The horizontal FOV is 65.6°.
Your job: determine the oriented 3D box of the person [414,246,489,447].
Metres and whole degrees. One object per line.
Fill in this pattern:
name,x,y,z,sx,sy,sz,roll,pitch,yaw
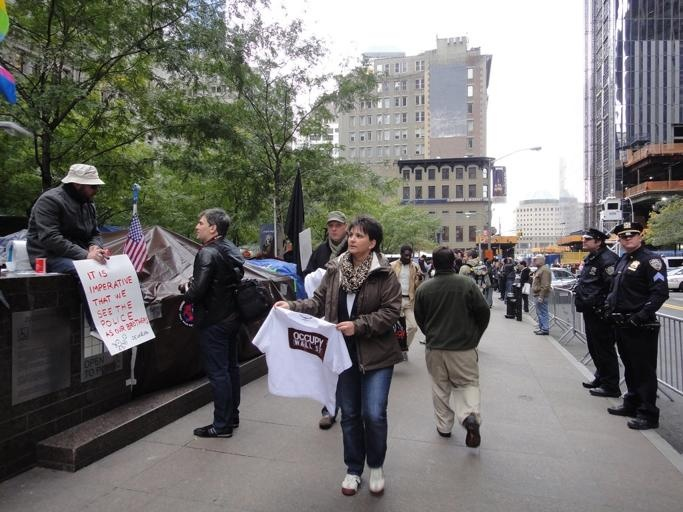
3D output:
person,1.412,1.125,6.833,0.944,2.416,0.700,4,9,17

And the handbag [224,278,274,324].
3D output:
handbag,-1.202,0.515,7.139,0.551,0.587,0.441,-19,18,-24

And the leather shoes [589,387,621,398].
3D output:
leather shoes,4.207,2.136,8.366,0.444,0.199,0.168,2,-9,23

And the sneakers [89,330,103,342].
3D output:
sneakers,-3.001,0.946,6.410,0.166,0.056,0.166,19,-19,-25

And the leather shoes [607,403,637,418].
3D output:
leather shoes,4.099,2.220,7.656,0.387,0.158,0.145,1,-5,19

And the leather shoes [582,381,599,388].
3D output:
leather shoes,4.157,2.107,8.737,0.082,0.088,0.221,7,-5,-40

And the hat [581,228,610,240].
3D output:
hat,4.249,-0.354,8.725,0.273,0.119,0.249,1,-2,8

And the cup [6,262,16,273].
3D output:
cup,-3.973,0.126,6.328,0.129,0.111,0.108,-2,1,-14

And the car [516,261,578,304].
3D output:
car,7.427,0.923,18.963,2.418,1.148,1.477,-5,7,-22

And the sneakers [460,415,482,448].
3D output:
sneakers,1.593,2.102,6.436,0.130,0.530,0.281,5,-5,-8

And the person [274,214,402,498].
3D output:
person,0.181,1.040,5.781,0.975,2.930,0.736,2,9,10

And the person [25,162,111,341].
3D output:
person,-3.400,-0.484,6.557,0.862,1.289,0.826,-8,12,-44

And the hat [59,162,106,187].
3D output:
hat,-3.278,-1.017,6.719,0.443,0.222,0.400,-4,6,-42

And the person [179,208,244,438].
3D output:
person,-1.652,0.842,6.850,0.603,2.874,0.731,2,9,9

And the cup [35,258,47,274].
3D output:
cup,-3.579,0.114,6.247,0.160,0.177,0.160,2,1,0

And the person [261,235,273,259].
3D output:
person,-2.307,-0.299,16.477,0.483,0.673,1.036,5,4,-6

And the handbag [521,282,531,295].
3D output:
handbag,5.923,1.009,16.848,0.299,0.279,0.500,3,35,18

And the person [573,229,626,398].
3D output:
person,4.274,0.885,8.703,0.765,2.683,0.899,1,-3,6

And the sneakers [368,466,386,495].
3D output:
sneakers,0.388,2.420,5.708,0.109,0.251,0.334,0,1,7

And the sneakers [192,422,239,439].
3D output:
sneakers,-1.637,2.233,6.849,0.485,0.199,0.196,5,-6,-2

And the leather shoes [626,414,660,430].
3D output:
leather shoes,4.099,2.216,7.202,0.456,0.204,0.170,5,-3,5
